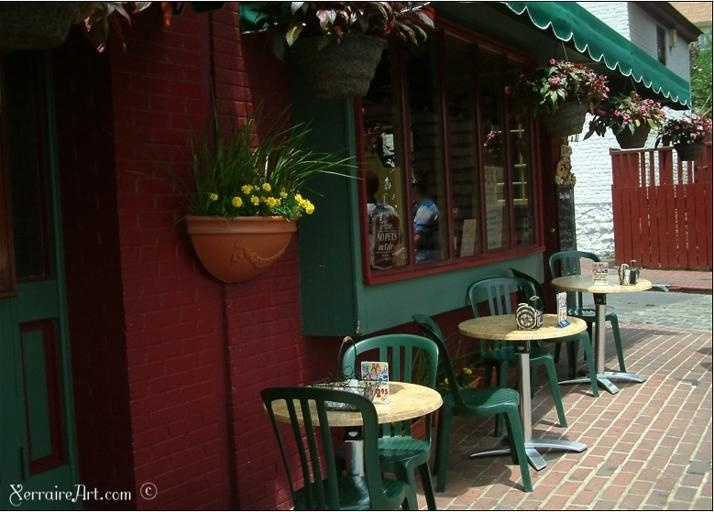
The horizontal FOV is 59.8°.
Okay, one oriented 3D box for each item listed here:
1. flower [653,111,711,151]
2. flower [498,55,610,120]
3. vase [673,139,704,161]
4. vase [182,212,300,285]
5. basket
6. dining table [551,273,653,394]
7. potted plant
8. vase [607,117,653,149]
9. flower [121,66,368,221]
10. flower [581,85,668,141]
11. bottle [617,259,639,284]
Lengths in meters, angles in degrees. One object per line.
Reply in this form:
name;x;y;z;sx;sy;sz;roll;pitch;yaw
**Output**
flower;4.543;-1.754;8.676;0.566;0.422;0.639;-7;1;-5
flower;1.882;-1.611;5.947;0.952;0.498;0.559;-2;6;19
vase;4.682;-1.474;8.787;0.286;0.191;0.292;0;-2;-1
vase;-0.754;-0.016;4.004;0.597;0.459;0.713;2;4;13
basket;-0.065;0.685;3.645;0.373;0.390;0.374;1;-15;14
dining table;2.413;0.739;6.195;0.986;1.079;0.982;-3;4;-30
potted plant;-0.126;-1.315;3.893;0.816;0.525;0.824;-1;4;-8
vase;3.299;-1.451;7.445;0.335;0.245;0.342;-1;1;-2
flower;-0.648;-0.595;3.944;0.643;0.767;1.307;0;7;35
flower;3.174;-1.653;7.541;0.835;0.421;0.834;-8;7;-10
bottle;3.001;0.174;6.868;0.272;0.306;0.211;-1;3;13
